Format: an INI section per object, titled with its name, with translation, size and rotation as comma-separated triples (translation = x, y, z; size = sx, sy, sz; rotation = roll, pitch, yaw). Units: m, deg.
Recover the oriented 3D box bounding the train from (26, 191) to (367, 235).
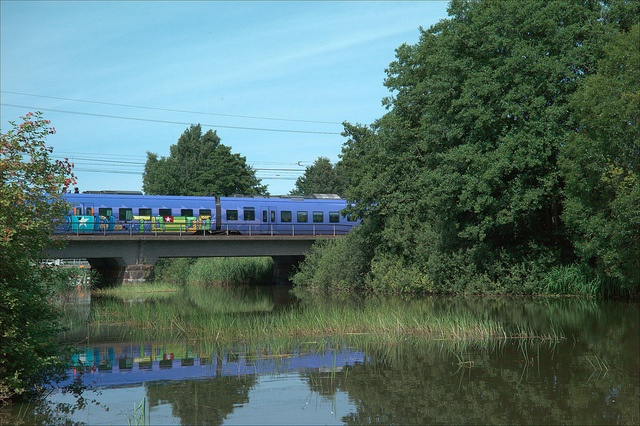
[train]
translation = -7.426, 0.274, 53.926
size = 21.512, 3.692, 2.373
rotation = 1, -1, -31
